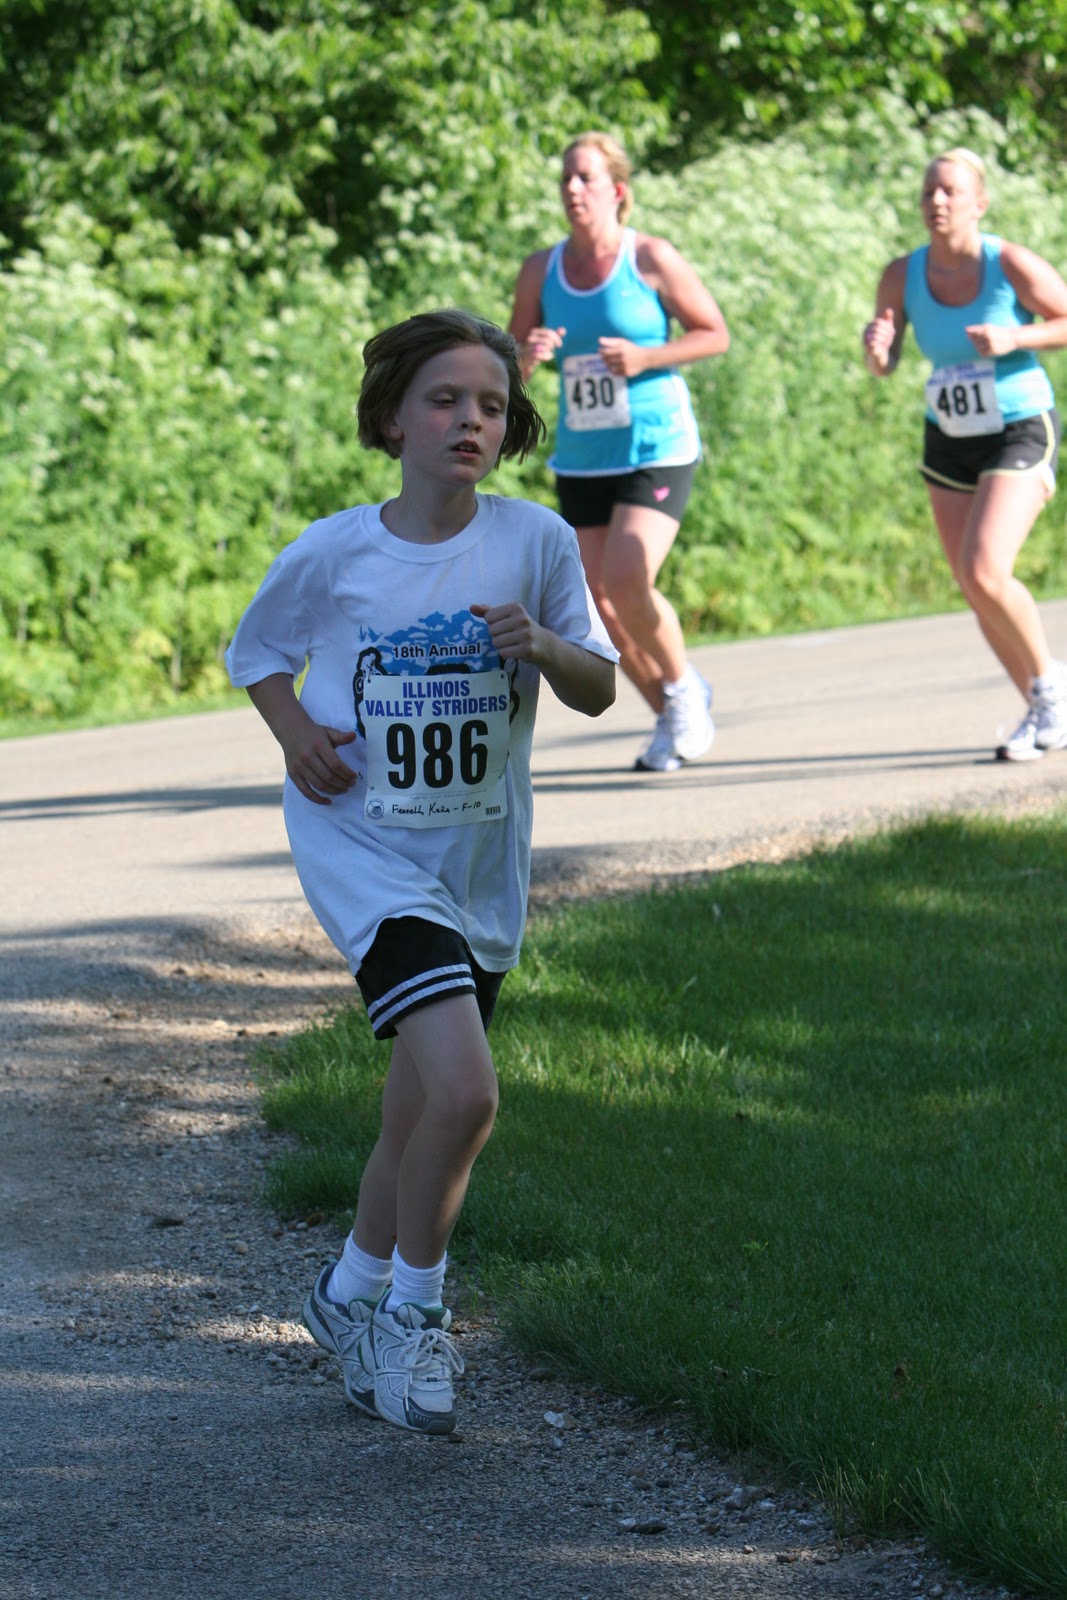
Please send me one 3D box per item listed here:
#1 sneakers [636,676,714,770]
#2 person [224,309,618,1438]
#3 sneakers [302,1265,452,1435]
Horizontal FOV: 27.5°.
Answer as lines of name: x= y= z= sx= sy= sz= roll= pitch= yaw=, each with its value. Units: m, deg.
sneakers: x=0.535 y=-0.270 z=8.314 sx=0.179 sy=0.202 sz=0.468 roll=-16 pitch=31 yaw=27
person: x=-0.117 y=0.081 z=3.119 sx=0.528 sy=1.532 sz=0.592 roll=-6 pitch=11 yaw=-7
sneakers: x=-0.198 y=0.776 z=3.099 sx=0.105 sy=0.122 sz=0.290 roll=7 pitch=19 yaw=-39
